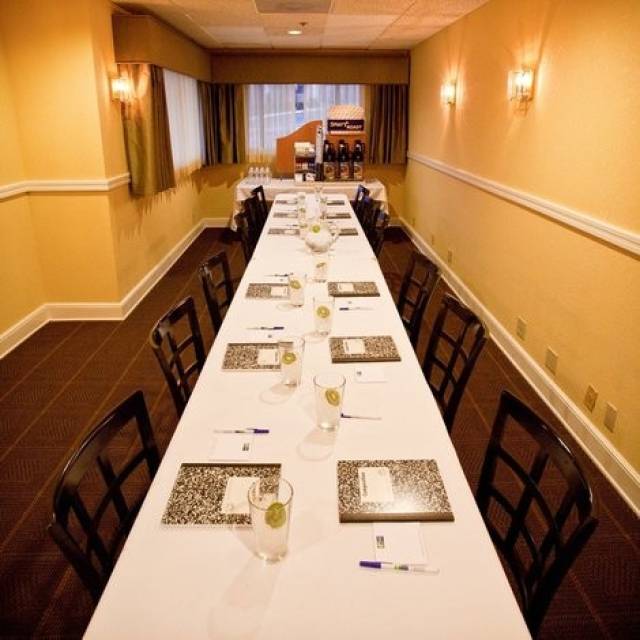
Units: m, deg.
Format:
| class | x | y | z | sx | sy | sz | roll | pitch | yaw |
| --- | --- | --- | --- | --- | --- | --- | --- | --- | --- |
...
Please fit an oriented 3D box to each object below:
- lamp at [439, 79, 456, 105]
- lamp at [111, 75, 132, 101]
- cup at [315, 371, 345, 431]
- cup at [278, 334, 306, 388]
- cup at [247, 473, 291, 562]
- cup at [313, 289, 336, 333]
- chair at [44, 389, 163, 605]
| class | x | y | z | sx | sy | sz | roll | pitch | yaw |
| --- | --- | --- | --- | --- | --- | --- | --- | --- | --- |
| lamp | 1.466 | -2.581 | 5.540 | 0.058 | 0.277 | 0.265 | 0 | 21 | -11 |
| lamp | -1.807 | -2.111 | 4.463 | 0.072 | 0.193 | 0.264 | 7 | 28 | 12 |
| cup | 0.027 | 0.252 | 1.498 | 0.105 | 0.199 | 0.125 | 0 | 21 | 0 |
| cup | -0.095 | 0.153 | 1.796 | 0.123 | 0.239 | 0.144 | -1 | 22 | -2 |
| cup | -0.112 | 0.439 | 1.067 | 0.095 | 0.181 | 0.107 | 3 | 19 | 3 |
| cup | 0.019 | -0.051 | 2.221 | 0.117 | 0.235 | 0.144 | 2 | 28 | 4 |
| chair | -0.774 | 0.622 | 1.716 | 0.372 | 0.719 | 0.424 | 8 | 48 | 1 |
